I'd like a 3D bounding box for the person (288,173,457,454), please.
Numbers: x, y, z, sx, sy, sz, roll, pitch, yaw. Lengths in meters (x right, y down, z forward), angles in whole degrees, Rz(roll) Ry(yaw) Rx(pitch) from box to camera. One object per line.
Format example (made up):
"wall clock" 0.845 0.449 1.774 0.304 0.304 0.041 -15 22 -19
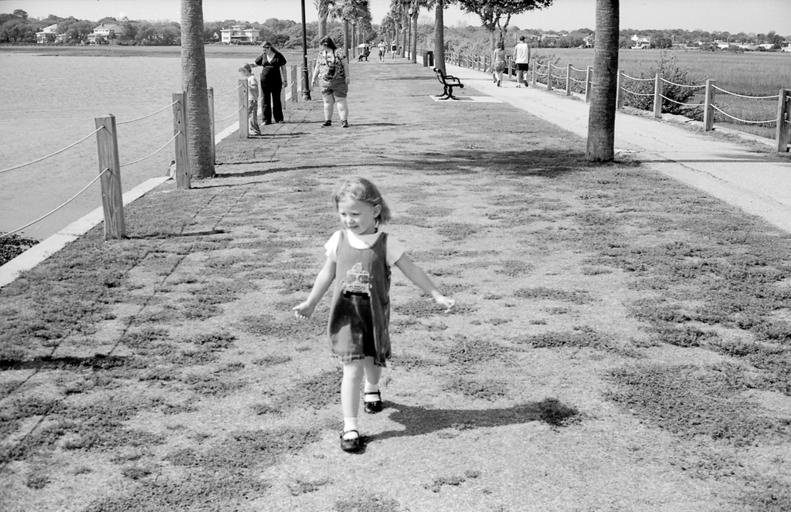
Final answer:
"person" -0.271 0.343 4.827 0.784 1.754 0.685 -19 27 -40
